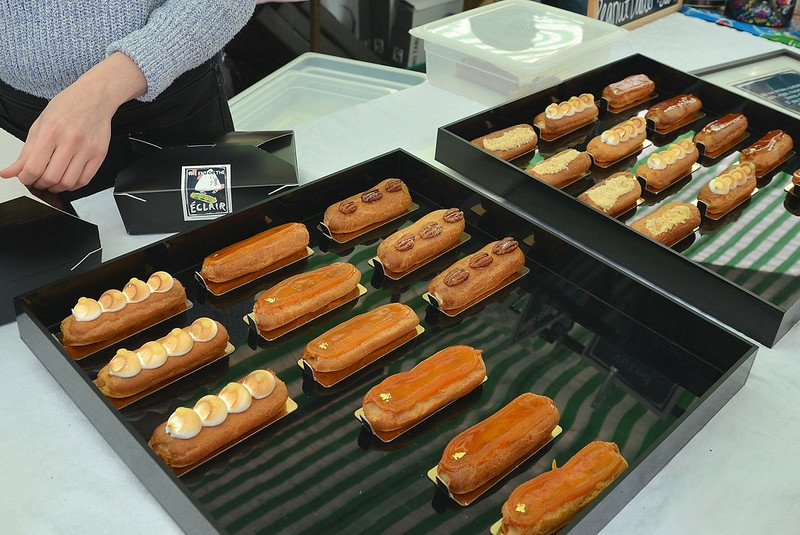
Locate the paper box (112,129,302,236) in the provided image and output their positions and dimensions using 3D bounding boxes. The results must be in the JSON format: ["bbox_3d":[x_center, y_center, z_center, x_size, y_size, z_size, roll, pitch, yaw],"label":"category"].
[{"bbox_3d":[-0.644,-0.245,2.136,0.546,0.187,0.339,-15,54,-10],"label":"paper box"}]
